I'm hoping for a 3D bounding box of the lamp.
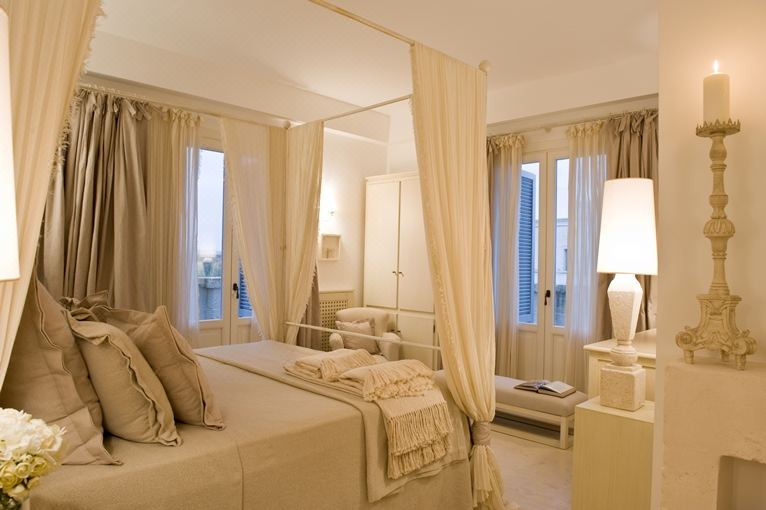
[{"bbox_3d":[1.496,0.228,3.406,0.327,1.399,0.470,3,9,23],"label":"lamp"}]

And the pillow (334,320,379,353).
[{"bbox_3d":[-0.300,0.885,6.020,0.368,0.411,0.126,-6,-22,-42],"label":"pillow"}]

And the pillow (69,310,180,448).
[{"bbox_3d":[-1.428,0.747,3.320,0.502,0.608,1.058,-7,-11,-22],"label":"pillow"}]

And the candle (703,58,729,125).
[{"bbox_3d":[1.498,-0.709,2.474,0.099,0.224,0.061,1,9,17],"label":"candle"}]

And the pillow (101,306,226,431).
[{"bbox_3d":[-1.384,0.678,3.372,1.009,0.536,0.450,6,-19,34],"label":"pillow"}]

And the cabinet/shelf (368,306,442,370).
[{"bbox_3d":[0.325,0.938,6.270,0.736,0.844,0.615,-6,-11,34],"label":"cabinet/shelf"}]
